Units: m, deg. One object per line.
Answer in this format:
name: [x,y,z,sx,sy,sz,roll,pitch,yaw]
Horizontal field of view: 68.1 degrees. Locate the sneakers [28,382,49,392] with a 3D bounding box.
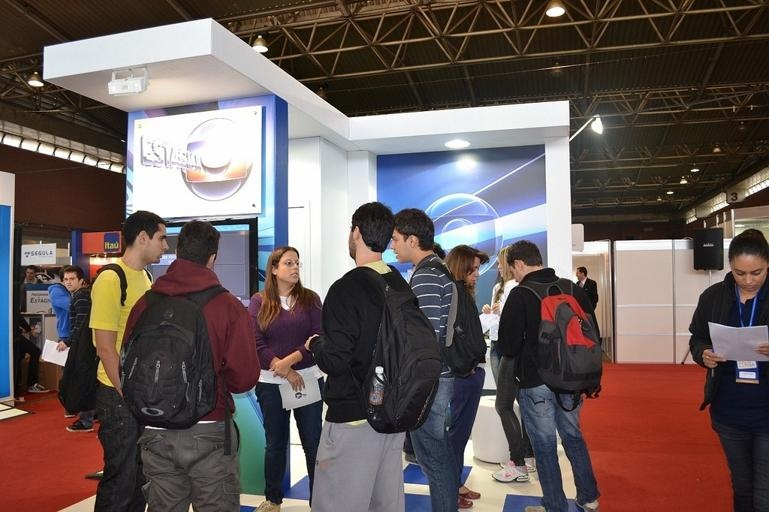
sneakers: [-5.294,2.001,8.698,0.347,0.151,0.118,2,-3,-6]

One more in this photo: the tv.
tv: [-1.333,0.061,4.233,0.782,0.780,0.054,1,-1,7]

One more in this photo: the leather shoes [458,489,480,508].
leather shoes: [0.720,2.128,4.978,0.172,0.085,0.317,-1,4,19]

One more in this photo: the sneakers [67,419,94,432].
sneakers: [-3.666,2.036,6.878,0.309,0.134,0.131,5,-8,-5]

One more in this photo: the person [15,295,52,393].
person: [-5.414,1.387,8.672,0.432,1.353,1.169,2,-3,-31]

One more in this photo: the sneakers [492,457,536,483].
sneakers: [1.259,2.037,5.437,0.470,0.221,0.180,1,-8,-1]
